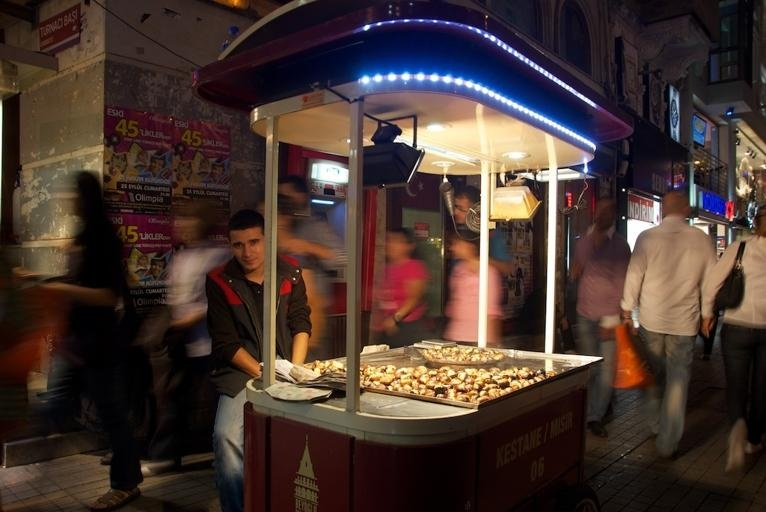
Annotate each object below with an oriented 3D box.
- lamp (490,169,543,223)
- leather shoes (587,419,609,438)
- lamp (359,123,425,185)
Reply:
[{"bbox_3d":[1.456,-0.624,6.858,0.667,0.325,0.706,-7,23,6],"label":"lamp"},{"bbox_3d":[2.863,2.304,8.149,0.108,0.134,0.329,-2,-5,-8],"label":"leather shoes"},{"bbox_3d":[0.077,-0.830,5.050,0.484,0.508,0.239,1,6,8],"label":"lamp"}]
